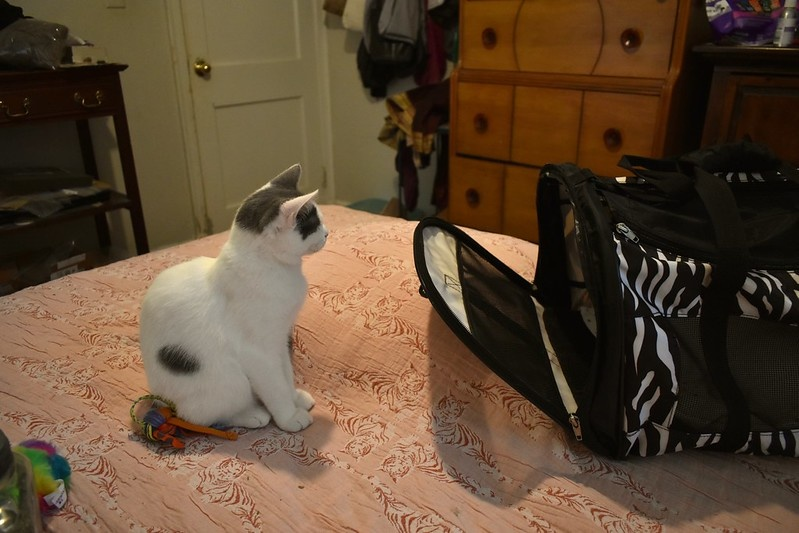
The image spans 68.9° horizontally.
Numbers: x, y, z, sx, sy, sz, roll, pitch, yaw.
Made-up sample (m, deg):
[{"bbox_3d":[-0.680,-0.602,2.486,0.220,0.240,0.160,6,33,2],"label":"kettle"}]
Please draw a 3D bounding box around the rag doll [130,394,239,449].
[{"bbox_3d":[-0.539,0.368,1.493,0.225,0.086,0.135,20,-9,-4],"label":"rag doll"}]

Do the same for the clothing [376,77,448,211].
[{"bbox_3d":[0.085,-0.713,3.310,0.323,0.812,0.573,-14,20,-40],"label":"clothing"}]

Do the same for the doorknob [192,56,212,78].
[{"bbox_3d":[-1.107,-1.120,3.297,0.076,0.099,0.044,-11,59,-26],"label":"doorknob"}]

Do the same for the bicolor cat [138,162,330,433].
[{"bbox_3d":[-0.442,0.093,1.567,0.469,0.675,0.391,3,17,-5],"label":"bicolor cat"}]
